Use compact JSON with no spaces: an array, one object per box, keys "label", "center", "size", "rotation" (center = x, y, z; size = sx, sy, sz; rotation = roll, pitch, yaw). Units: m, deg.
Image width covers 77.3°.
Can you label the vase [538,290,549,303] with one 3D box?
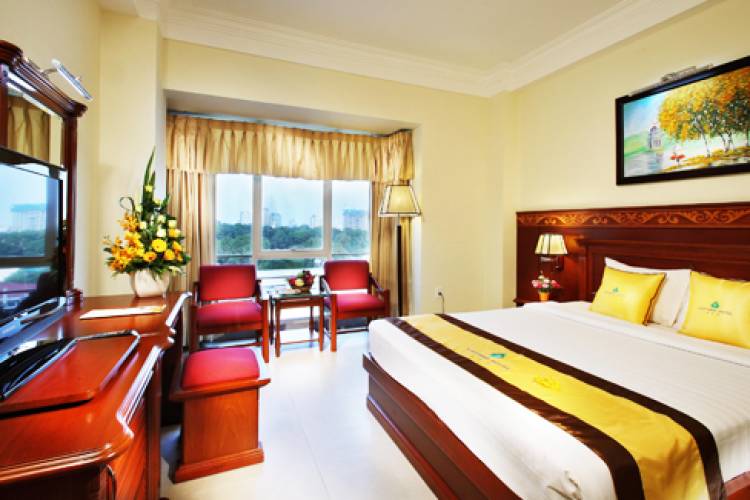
[{"label":"vase","center":[2.023,0.566,5.633],"size":[0.150,0.117,0.152],"rotation":[2,-6,-19]}]

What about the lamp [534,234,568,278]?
[{"label":"lamp","center":[2.087,0.085,5.630],"size":[0.375,0.511,0.340],"rotation":[1,-4,2]}]

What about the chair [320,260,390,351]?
[{"label":"chair","center":[-0.287,0.683,6.131],"size":[0.794,1.052,0.642],"rotation":[-2,7,-17]}]

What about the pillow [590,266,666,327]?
[{"label":"pillow","center":[2.425,0.422,4.460],"size":[0.154,0.482,0.508],"rotation":[22,3,-25]}]

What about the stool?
[{"label":"stool","center":[-1.307,1.332,4.138],"size":[0.833,0.971,0.893],"rotation":[-2,4,-19]}]

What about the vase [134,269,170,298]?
[{"label":"vase","center":[-1.961,0.299,4.131],"size":[0.256,0.176,0.240],"rotation":[1,-6,0]}]

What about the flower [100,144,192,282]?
[{"label":"flower","center":[-2.077,-0.276,4.261],"size":[0.705,1.036,0.644],"rotation":[-2,1,22]}]

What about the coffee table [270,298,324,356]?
[{"label":"coffee table","center":[-0.973,0.887,5.913],"size":[0.694,0.673,0.695],"rotation":[-1,0,-16]}]
